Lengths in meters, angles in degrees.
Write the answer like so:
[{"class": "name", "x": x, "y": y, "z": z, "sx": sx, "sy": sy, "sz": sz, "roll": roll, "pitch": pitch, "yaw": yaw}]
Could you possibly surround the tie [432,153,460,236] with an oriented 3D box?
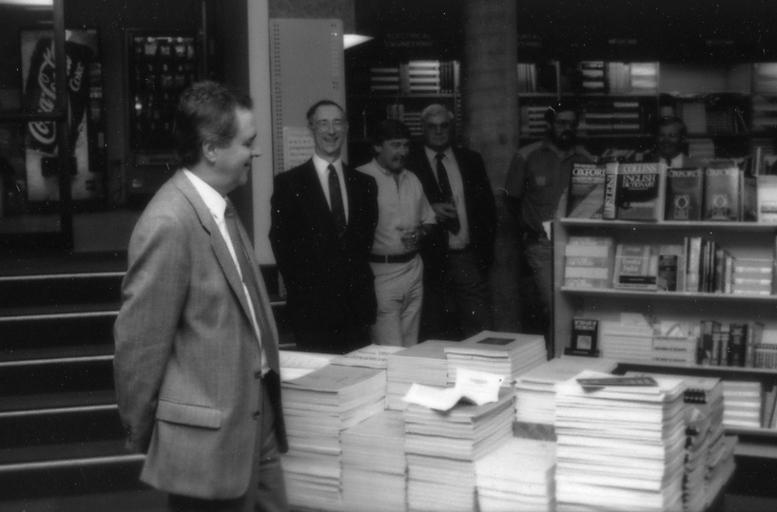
[{"class": "tie", "x": 0.453, "y": -0.435, "z": 5.843, "sx": 0.147, "sy": 0.673, "sz": 0.177, "roll": -10, "pitch": 15, "yaw": 14}]
